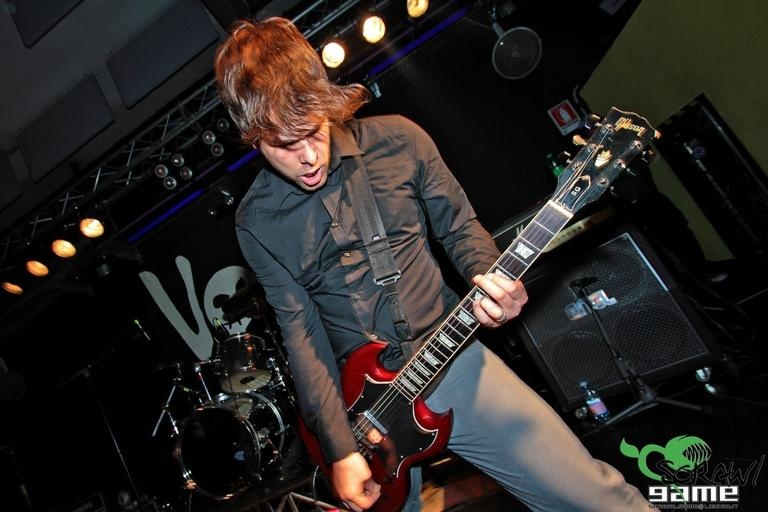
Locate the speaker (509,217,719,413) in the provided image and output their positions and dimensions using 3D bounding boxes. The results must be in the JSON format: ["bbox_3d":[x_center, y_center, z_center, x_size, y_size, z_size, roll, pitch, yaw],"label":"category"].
[{"bbox_3d":[2.153,0.794,5.054,1.498,1.021,1.651,-23,46,8],"label":"speaker"}]

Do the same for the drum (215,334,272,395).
[{"bbox_3d":[-1.599,1.164,5.978,0.677,0.644,0.516,106,155,-49],"label":"drum"}]

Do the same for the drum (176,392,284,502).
[{"bbox_3d":[-1.819,2.138,6.034,0.960,1.002,0.731,-9,-5,1],"label":"drum"}]

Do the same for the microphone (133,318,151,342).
[{"bbox_3d":[-3.226,0.974,6.905,0.122,0.312,0.041,-37,-13,-26],"label":"microphone"}]

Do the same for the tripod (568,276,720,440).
[{"bbox_3d":[2.314,0.933,4.716,0.870,1.183,0.791,-31,9,28],"label":"tripod"}]
